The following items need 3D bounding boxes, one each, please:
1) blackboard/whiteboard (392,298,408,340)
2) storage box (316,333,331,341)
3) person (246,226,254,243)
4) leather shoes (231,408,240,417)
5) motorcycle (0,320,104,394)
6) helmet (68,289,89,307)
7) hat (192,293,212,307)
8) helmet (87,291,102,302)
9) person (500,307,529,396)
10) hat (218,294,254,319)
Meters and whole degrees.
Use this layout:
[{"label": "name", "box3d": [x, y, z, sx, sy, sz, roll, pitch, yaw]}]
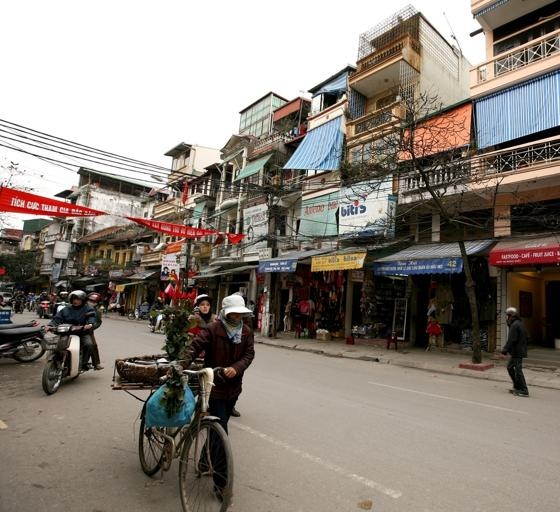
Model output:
[{"label": "blackboard/whiteboard", "box3d": [4.845, 2.594, 17.046, 0.133, 1.655, 0.691, 10, -8, -32]}, {"label": "storage box", "box3d": [1.882, 3.531, 18.466, 0.578, 0.317, 0.379, 1, -6, 12]}, {"label": "person", "box3d": [-1.723, -1.279, 24.281, 0.222, 0.792, 0.830, 7, 22, -13]}, {"label": "leather shoes", "box3d": [-0.653, 2.332, 6.235, 0.110, 0.116, 0.300, 3, -18, -19]}, {"label": "motorcycle", "box3d": [-4.304, 1.937, 8.067, 1.306, 1.326, 2.324, -7, -23, 2]}, {"label": "helmet", "box3d": [-3.739, 0.790, 7.865, 0.298, 0.322, 0.344, -6, -20, 4]}, {"label": "hat", "box3d": [-1.189, 0.655, 6.297, 0.207, 0.098, 0.269, 16, -38, -35]}, {"label": "helmet", "box3d": [-3.629, 0.811, 8.259, 0.267, 0.217, 0.215, -12, -7, 27]}, {"label": "person", "box3d": [4.949, 1.996, 8.870, 0.475, 1.764, 0.764, 0, -7, 29]}, {"label": "hat", "box3d": [-0.462, 0.508, 4.268, 0.233, 0.140, 0.294, 4, -13, -23]}]
